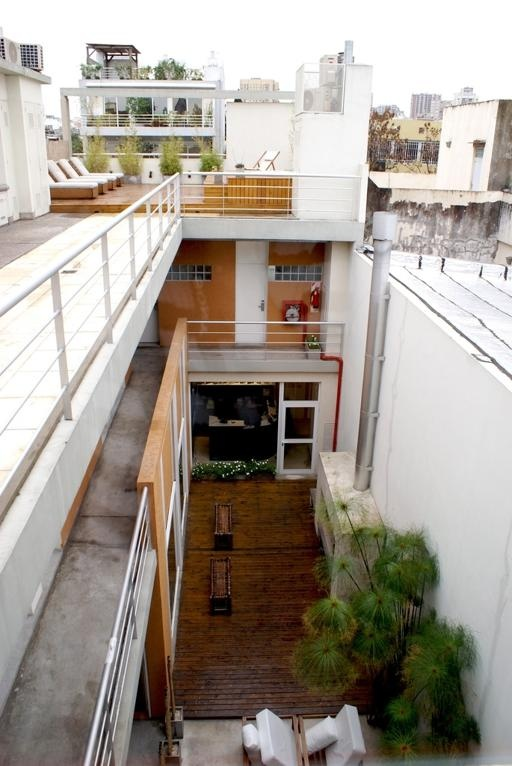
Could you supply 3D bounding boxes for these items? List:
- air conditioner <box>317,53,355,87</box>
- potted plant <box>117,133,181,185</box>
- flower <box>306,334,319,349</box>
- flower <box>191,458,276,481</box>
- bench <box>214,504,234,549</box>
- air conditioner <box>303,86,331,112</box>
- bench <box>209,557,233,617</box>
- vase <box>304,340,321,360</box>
[{"bbox_3d":[1.553,-6.108,9.737,0.586,0.627,0.676,7,23,12],"label":"air conditioner"},{"bbox_3d":[-3.235,-6.861,15.349,2.492,1.277,1.349,18,28,31],"label":"potted plant"},{"bbox_3d":[1.265,-0.923,11.287,0.204,0.116,0.356,0,42,5],"label":"flower"},{"bbox_3d":[-0.539,1.965,11.192,1.240,0.346,0.327,-1,54,-5],"label":"flower"},{"bbox_3d":[-0.589,2.665,9.070,0.356,0.382,1.097,0,23,-2],"label":"bench"},{"bbox_3d":[1.167,-5.453,9.633,0.542,0.436,0.183,5,21,8],"label":"air conditioner"},{"bbox_3d":[-0.536,3.112,7.614,0.337,0.499,1.209,1,26,-2],"label":"bench"},{"bbox_3d":[1.265,-0.728,11.203,0.290,0.425,0.599,2,29,1],"label":"vase"}]
